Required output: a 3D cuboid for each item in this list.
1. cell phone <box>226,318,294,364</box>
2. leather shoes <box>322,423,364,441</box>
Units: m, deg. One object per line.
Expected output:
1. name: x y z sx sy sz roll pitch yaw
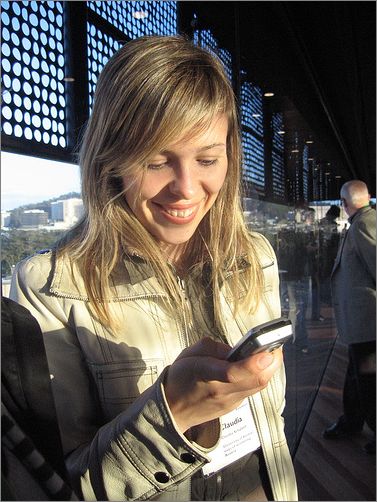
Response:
1. cell phone: 0.100 0.131 0.558 0.069 0.029 0.121 -15 -25 -20
2. leather shoes: 1.074 1.265 2.820 0.291 0.104 0.104 5 -10 -12
